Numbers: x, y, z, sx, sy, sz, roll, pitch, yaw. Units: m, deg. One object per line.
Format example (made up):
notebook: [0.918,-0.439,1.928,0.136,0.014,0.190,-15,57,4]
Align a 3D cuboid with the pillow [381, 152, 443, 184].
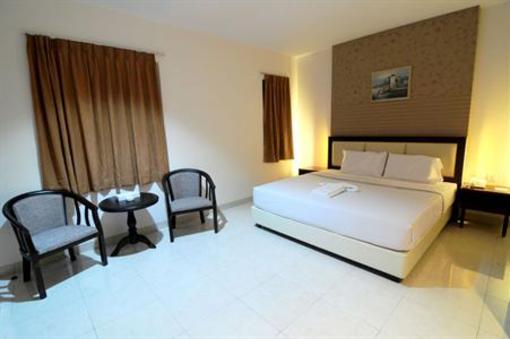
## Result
pillow: [2.990,-0.129,5.809,1.105,0.416,1.375,6,22,31]

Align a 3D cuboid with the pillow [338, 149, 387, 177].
pillow: [2.031,-0.101,5.809,0.210,0.482,0.771,23,-10,-38]

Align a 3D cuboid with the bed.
bed: [1.721,0.375,5.299,2.670,1.597,2.483,8,18,41]

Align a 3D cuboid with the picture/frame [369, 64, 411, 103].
picture/frame: [2.551,-1.600,5.732,0.749,0.618,0.053,8,17,44]

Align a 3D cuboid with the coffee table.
coffee table: [-1.911,0.834,4.849,0.837,0.812,0.910,-9,20,-34]

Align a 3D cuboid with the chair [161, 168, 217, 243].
chair: [-1.152,0.540,5.392,0.835,1.026,0.919,-8,14,-16]
